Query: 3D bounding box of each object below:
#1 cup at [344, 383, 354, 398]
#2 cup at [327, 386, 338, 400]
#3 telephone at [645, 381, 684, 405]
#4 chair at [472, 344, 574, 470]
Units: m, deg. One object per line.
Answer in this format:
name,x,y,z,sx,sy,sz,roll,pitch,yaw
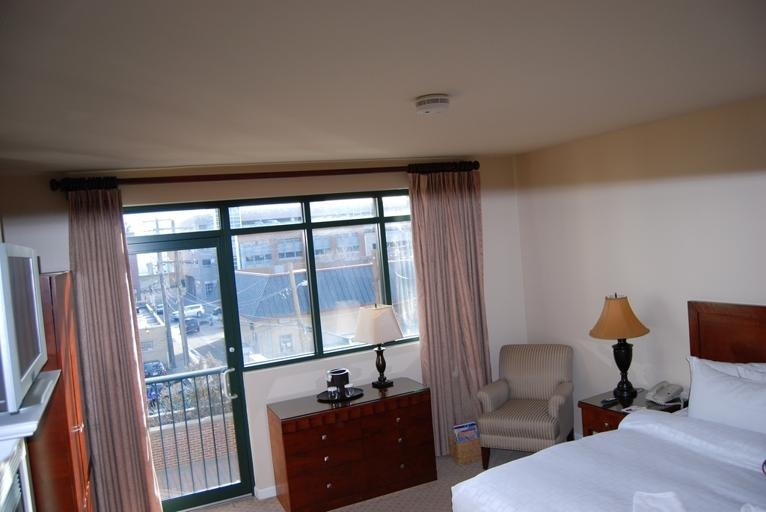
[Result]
cup,-0.378,1.460,5.781,0.111,0.177,0.102,-3,-6,0
cup,-0.550,1.475,5.749,0.106,0.100,0.092,-1,6,-3
telephone,2.693,1.302,5.058,0.229,0.089,0.225,-14,5,-19
chair,1.675,1.692,6.110,1.166,1.234,1.125,-6,2,-31
